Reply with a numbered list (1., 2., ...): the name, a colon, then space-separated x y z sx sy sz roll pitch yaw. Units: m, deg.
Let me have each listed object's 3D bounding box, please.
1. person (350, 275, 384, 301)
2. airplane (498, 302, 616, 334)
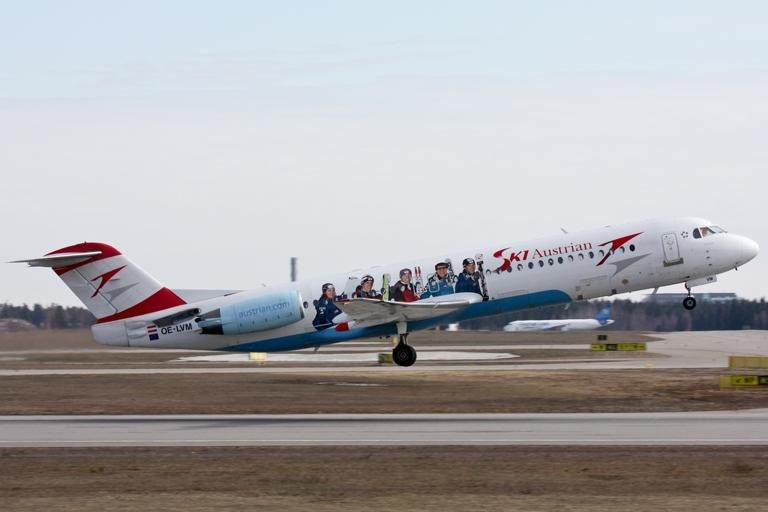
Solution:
1. person: -0.660 1.277 53.112 1.808 0.723 0.634 2 -13 -11
2. airplane: 12.064 4.646 93.536 6.945 1.100 3.840 0 2 23
